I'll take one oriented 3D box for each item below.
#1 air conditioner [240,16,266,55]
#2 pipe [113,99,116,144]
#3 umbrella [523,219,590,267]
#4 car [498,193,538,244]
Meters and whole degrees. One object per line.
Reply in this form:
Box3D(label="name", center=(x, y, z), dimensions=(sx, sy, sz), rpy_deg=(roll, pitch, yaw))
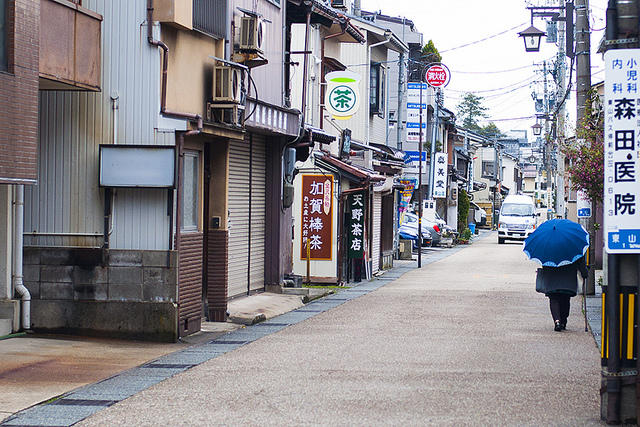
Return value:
Box3D(label="air conditioner", center=(-1.402, -3.731, 19.532), dimensions=(0.338, 0.744, 0.799), rpy_deg=(5, -2, 6))
Box3D(label="pipe", center=(-3.834, -1.714, 17.283), dimensions=(0.055, 0.803, 0.093), rpy_deg=(-1, 4, -16))
Box3D(label="umbrella", center=(4.728, 0.616, 18.685), dimensions=(1.233, 0.890, 0.517), rpy_deg=(1, 4, 13))
Box3D(label="car", center=(11.634, 0.108, 54.579), dimensions=(2.118, 2.777, 5.143), rpy_deg=(2, 7, 15))
